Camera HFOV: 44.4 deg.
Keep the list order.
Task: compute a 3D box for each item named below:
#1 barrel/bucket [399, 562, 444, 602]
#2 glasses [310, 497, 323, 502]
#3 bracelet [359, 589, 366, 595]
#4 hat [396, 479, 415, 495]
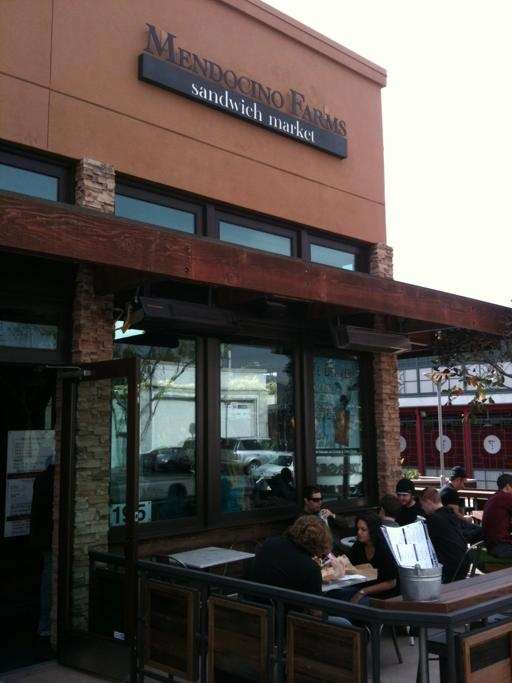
[{"bbox_3d":[0.812,1.176,3.065,0.188,0.123,0.158,-6,-16,18],"label":"barrel/bucket"},{"bbox_3d":[0.595,1.552,6.213,0.066,0.022,0.066,8,-37,-20],"label":"glasses"},{"bbox_3d":[0.843,1.972,4.956,0.055,0.017,0.056,0,-1,33],"label":"bracelet"},{"bbox_3d":[1.568,1.512,6.603,0.146,0.170,0.184,3,1,28],"label":"hat"}]
